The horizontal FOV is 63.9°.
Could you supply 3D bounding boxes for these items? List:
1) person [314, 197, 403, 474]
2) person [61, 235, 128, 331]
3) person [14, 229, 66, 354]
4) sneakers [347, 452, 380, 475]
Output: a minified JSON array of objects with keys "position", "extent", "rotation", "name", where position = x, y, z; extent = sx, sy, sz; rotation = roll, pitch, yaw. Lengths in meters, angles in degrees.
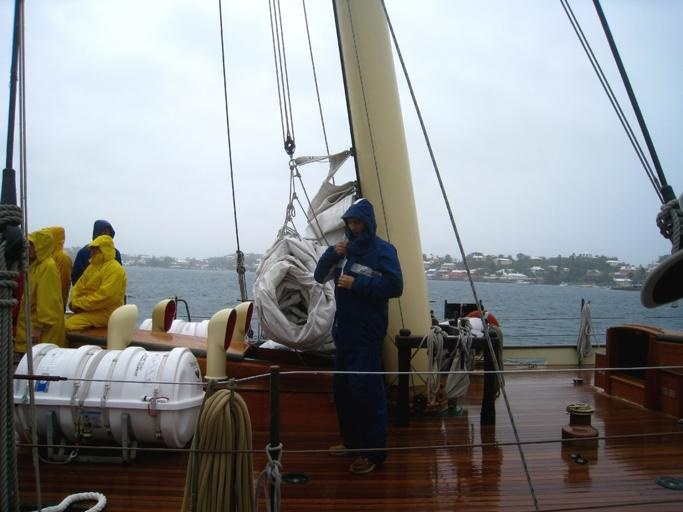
[{"position":[0.095,0.537,4.048],"extent":[0.652,1.813,0.651],"rotation":[-1,0,23],"name":"person"},{"position":[-2.275,0.235,5.038],"extent":[0.508,0.947,0.754],"rotation":[-1,0,-24],"name":"person"},{"position":[-2.649,0.307,4.782],"extent":[0.386,1.198,0.452],"rotation":[-1,0,-33],"name":"person"},{"position":[0.165,1.453,3.851],"extent":[0.198,0.090,0.106],"rotation":[4,-3,-13],"name":"sneakers"}]
